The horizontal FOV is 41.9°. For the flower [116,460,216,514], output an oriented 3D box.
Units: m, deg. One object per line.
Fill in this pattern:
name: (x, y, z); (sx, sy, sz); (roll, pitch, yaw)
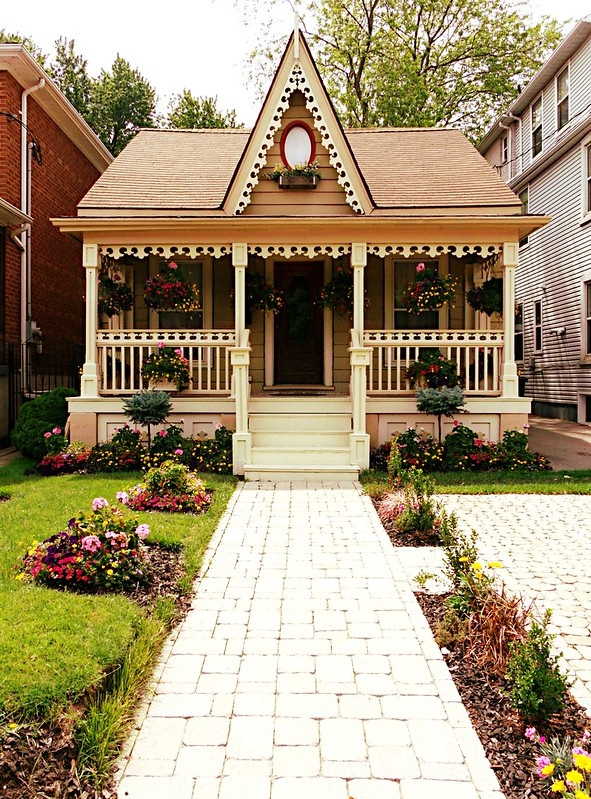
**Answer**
flower: (-1.318, 0.943, 7.860); (0.585, 0.289, 0.607); (1, 7, 9)

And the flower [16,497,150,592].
flower: (-1.414, 1.048, 5.347); (0.680, 0.498, 0.710); (0, 5, -15)

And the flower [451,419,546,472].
flower: (2.767, 0.651, 10.776); (1.415, 0.617, 0.757); (2, 9, 7)

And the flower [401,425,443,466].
flower: (1.720, 0.669, 10.583); (0.496, 0.383, 0.539); (1, 19, -9)

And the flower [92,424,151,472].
flower: (-2.395, 0.691, 10.336); (0.765, 0.475, 0.803); (-2, 9, -16)

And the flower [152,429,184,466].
flower: (-1.717, 0.621, 10.317); (0.476, 0.339, 0.485); (-6, 17, -33)

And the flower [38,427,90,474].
flower: (-3.124, 0.693, 10.376); (0.697, 0.478, 1.038); (-2, 9, -15)

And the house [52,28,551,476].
house: (0.042, -1.833, 14.334); (6.818, 6.813, 6.078); (-1, -10, 4)

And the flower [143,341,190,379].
flower: (-1.895, -0.547, 11.233); (0.519, 0.421, 0.519); (1, 1, -5)

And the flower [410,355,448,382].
flower: (1.929, -0.439, 11.176); (0.408, 0.366, 0.415); (2, 5, 39)

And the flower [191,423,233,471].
flower: (-1.125, 0.681, 10.351); (0.535, 0.546, 0.812); (-1, 9, -8)

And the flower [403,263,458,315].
flower: (2.056, -1.687, 11.862); (0.822, 0.776, 0.871); (-5, 10, 14)

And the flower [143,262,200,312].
flower: (-1.895, -1.639, 11.922); (0.797, 0.738, 0.842); (2, 3, -2)

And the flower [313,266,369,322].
flower: (0.660, -1.833, 13.151); (0.838, 0.898, 0.732); (-6, 11, -37)

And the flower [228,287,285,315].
flower: (-0.516, -1.670, 13.107); (0.548, 0.347, 0.566); (10, 12, 23)
